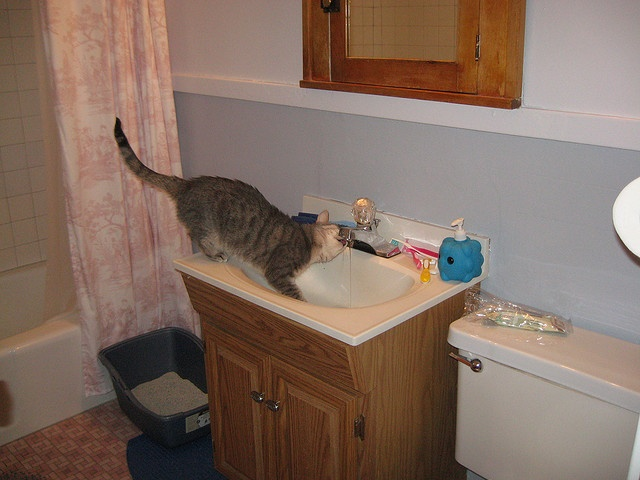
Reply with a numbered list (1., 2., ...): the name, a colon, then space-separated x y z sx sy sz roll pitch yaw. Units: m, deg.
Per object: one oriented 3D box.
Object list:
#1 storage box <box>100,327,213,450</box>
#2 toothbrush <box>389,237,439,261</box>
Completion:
1. storage box: -0.699 0.674 2.352 0.391 0.210 0.526 -18 38 -33
2. toothbrush: 0.331 0.033 1.761 0.112 0.031 0.075 15 42 4
